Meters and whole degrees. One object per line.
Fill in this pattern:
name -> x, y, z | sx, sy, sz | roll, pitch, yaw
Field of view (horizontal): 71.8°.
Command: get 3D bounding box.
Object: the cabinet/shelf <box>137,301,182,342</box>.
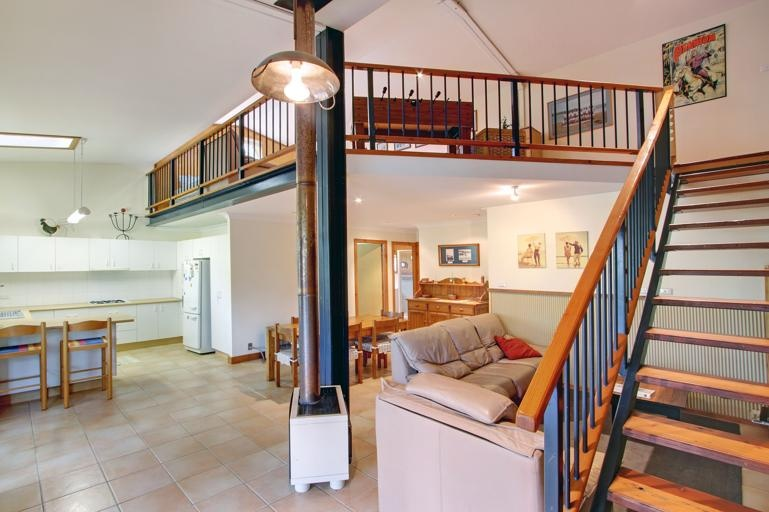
cabinet/shelf -> -4.660, 1.337, 10.915 | 0.895, 0.795, 0.361 | -1, 1, -43

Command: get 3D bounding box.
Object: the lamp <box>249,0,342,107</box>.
lamp -> -0.836, -1.994, 5.470 | 0.943, 1.139, 0.877 | 4, -1, 4

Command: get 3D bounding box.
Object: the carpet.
carpet -> 3.772, 2.078, 6.426 | 1.023, 0.696, 1.598 | 9, 9, 36

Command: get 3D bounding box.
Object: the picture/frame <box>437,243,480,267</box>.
picture/frame -> 1.560, -0.015, 11.119 | 0.993, 0.481, 0.039 | -1, 1, 41

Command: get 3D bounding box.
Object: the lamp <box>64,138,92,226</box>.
lamp -> -5.585, -1.302, 9.648 | 0.423, 1.574, 1.581 | -2, 1, -29

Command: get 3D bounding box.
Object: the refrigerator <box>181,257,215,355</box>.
refrigerator -> -3.639, 0.968, 10.306 | 0.708, 1.571, 0.302 | -1, 1, 28
